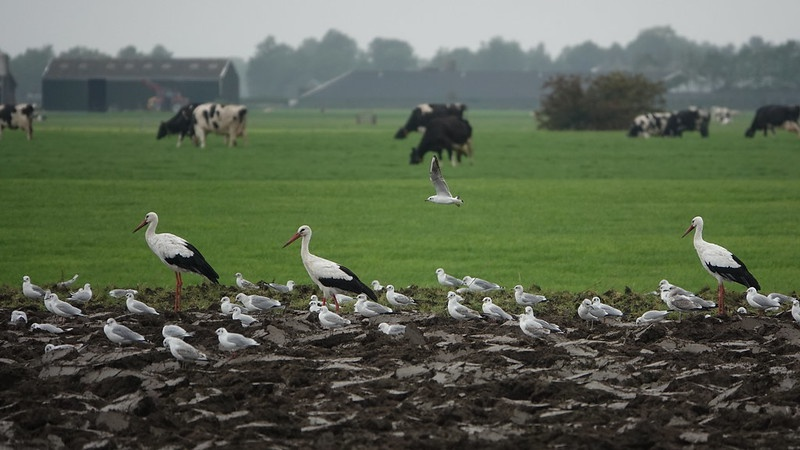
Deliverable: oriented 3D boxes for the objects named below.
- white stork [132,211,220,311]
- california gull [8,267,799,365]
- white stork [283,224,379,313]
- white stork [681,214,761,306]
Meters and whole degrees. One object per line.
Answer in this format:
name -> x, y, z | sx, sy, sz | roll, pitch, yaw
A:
white stork -> -8.898, 1.505, 55.822 | 3.525, 3.740, 1.099 | 2, 5, 8
california gull -> -0.008, 3.692, 54.358 | 16.359, 3.443, 5.449 | 0, 0, -10
white stork -> -2.598, 1.915, 55.334 | 4.256, 3.092, 1.265 | 11, 10, 15
white stork -> 13.504, 1.528, 55.937 | 2.371, 4.006, 3.973 | 2, 1, 23
